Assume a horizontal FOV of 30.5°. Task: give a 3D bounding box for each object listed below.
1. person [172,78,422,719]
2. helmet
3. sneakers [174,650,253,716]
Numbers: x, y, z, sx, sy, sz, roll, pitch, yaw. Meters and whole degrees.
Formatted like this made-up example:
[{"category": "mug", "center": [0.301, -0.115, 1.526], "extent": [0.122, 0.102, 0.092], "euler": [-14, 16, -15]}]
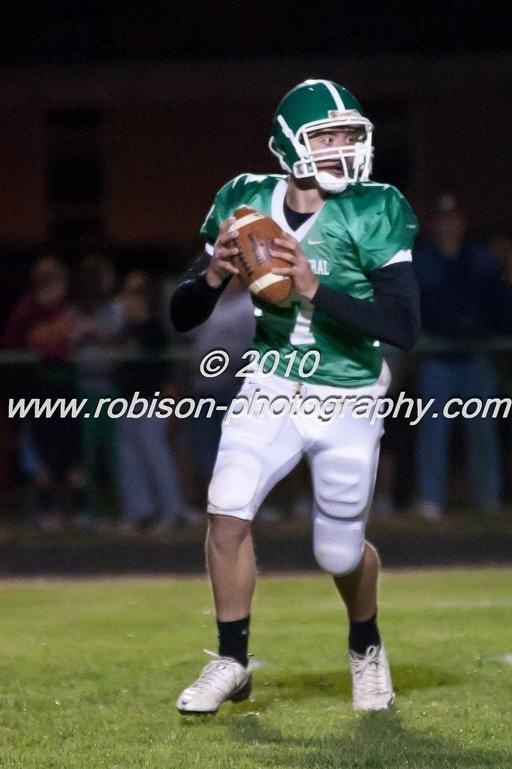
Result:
[{"category": "person", "center": [0.089, -0.002, 2.439], "extent": [0.610, 1.665, 0.558], "euler": [1, 1, -6]}, {"category": "helmet", "center": [0.159, -0.663, 2.436], "extent": [0.283, 0.249, 0.321], "euler": [-16, 31, -27]}, {"category": "sneakers", "center": [-0.097, 0.756, 2.329], "extent": [0.112, 0.150, 0.269], "euler": [1, 1, 19]}]
